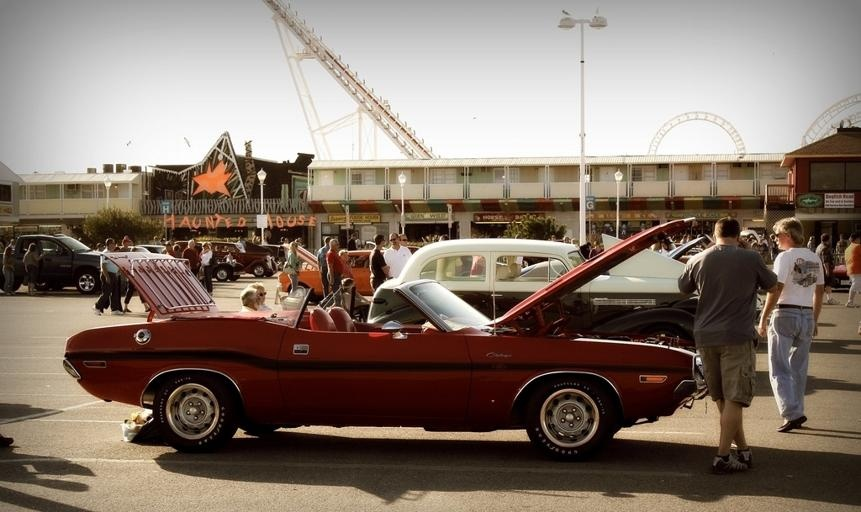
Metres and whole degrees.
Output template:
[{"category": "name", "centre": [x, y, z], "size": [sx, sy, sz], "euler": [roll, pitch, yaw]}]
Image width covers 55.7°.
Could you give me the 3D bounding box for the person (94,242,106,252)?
[{"category": "person", "centre": [-17.553, -0.423, 42.998], "size": [0.703, 0.440, 0.929], "euler": [-1, -2, -4]}]

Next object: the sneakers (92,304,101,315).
[{"category": "sneakers", "centre": [-9.663, 1.601, 23.522], "size": [0.173, 0.215, 0.498], "euler": [-1, 3, -34]}]

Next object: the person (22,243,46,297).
[{"category": "person", "centre": [-14.950, 0.503, 30.515], "size": [0.576, 1.966, 1.037], "euler": [-4, 6, -33]}]

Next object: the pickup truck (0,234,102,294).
[{"category": "pickup truck", "centre": [-14.195, 0.320, 30.929], "size": [4.090, 1.897, 2.137], "euler": [-2, 0, 2]}]

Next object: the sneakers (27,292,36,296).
[{"category": "sneakers", "centre": [-15.028, 1.460, 30.440], "size": [0.291, 0.150, 0.280], "euler": [5, 4, 15]}]

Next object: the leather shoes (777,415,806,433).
[{"category": "leather shoes", "centre": [4.971, 2.332, 11.172], "size": [0.297, 0.134, 0.111], "euler": [-24, 11, 19]}]

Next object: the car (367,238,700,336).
[{"category": "car", "centre": [1.939, 0.958, 15.433], "size": [6.737, 2.429, 2.377], "euler": [1, 0, 1]}]

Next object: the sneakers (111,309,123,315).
[{"category": "sneakers", "centre": [-8.984, 1.663, 23.185], "size": [0.401, 0.133, 0.156], "euler": [-1, -32, 1]}]

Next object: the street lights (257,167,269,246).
[{"category": "street lights", "centre": [-12.087, -3.624, 57.836], "size": [0.721, 4.517, 0.683], "euler": [2, 14, -8]}]

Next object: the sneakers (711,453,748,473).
[{"category": "sneakers", "centre": [3.529, 2.492, 9.651], "size": [0.467, 0.219, 0.164], "euler": [-3, 3, -9]}]

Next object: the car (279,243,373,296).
[{"category": "car", "centre": [-3.605, 0.656, 28.972], "size": [3.842, 1.631, 2.208], "euler": [-1, 2, 4]}]
